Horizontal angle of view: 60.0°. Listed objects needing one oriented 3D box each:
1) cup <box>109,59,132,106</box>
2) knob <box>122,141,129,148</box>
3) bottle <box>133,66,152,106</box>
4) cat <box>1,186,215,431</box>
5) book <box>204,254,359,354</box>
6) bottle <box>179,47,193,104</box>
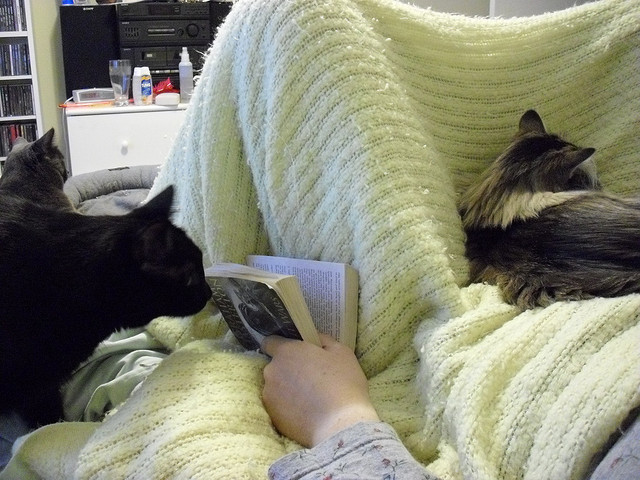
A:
[{"bbox_3d":[-1.146,-0.917,3.230,0.125,0.252,0.091,-14,21,-36],"label":"cup"},{"bbox_3d":[-1.120,-0.550,3.194,0.028,0.027,0.028,42,48,23],"label":"knob"},{"bbox_3d":[-1.052,-0.915,3.295,0.115,0.219,0.241,-6,18,-16],"label":"bottle"},{"bbox_3d":[-0.368,0.106,0.978,0.373,0.398,0.122,-11,20,-29],"label":"cat"},{"bbox_3d":[-0.074,0.140,1.084,0.264,0.200,0.176,7,19,25],"label":"book"},{"bbox_3d":[-0.804,-0.982,3.315,0.089,0.316,0.247,-7,18,-17],"label":"bottle"}]
